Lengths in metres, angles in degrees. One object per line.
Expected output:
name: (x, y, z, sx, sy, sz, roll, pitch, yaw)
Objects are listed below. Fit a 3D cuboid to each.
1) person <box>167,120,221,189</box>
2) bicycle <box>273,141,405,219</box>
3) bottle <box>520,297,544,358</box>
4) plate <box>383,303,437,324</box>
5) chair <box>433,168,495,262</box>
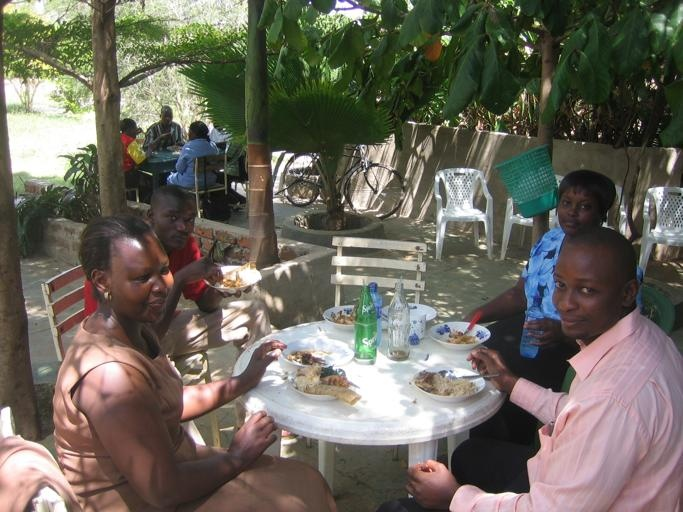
person: (-2.205, -1.532, 8.396, 0.763, 1.016, 0.746, 3, 14, 25)
bicycle: (-0.034, -1.459, 10.091, 2.460, 1.596, 1.240, 8, 23, 20)
bottle: (1.047, 0.404, 3.024, 0.105, 0.394, 0.108, -4, 36, 3)
plate: (0.425, 0.316, 3.133, 0.171, 0.041, 0.175, 1, 15, 2)
chair: (1.570, -0.578, 7.351, 0.769, 1.098, 0.842, -2, 11, -6)
